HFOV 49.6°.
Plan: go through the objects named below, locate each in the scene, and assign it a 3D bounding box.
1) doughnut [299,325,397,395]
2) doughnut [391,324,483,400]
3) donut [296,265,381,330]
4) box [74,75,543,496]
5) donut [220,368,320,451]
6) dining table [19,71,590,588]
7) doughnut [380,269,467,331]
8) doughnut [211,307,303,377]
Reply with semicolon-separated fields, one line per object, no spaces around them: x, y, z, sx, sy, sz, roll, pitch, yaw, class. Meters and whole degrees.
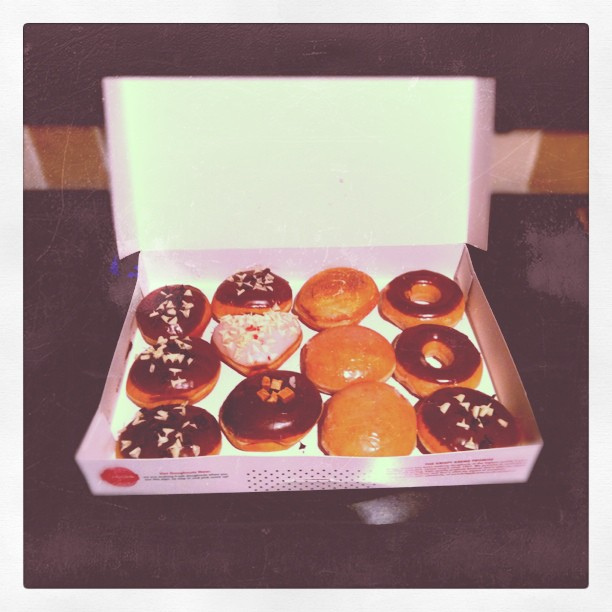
0.112;0.149;1.867;0.214;0.093;0.214;21;41;33;doughnut
0.414;0.128;1.936;0.100;0.257;0.288;-20;26;-35;doughnut
0.132;-0.022;2.187;0.340;0.112;0.395;-19;8;-29;donut
0.025;-0.023;1.737;1.386;0.655;0.975;-7;63;-8;box
-0.088;0.266;1.714;0.234;0.076;0.183;-32;47;-32;donut
0.010;0.022;1.776;1.500;1.264;0.819;-3;21;-3;dining table
0.363;-0.041;2.182;0.259;0.073;0.244;2;-9;15;doughnut
-0.150;0.102;1.936;0.219;0.071;0.209;18;45;13;doughnut
